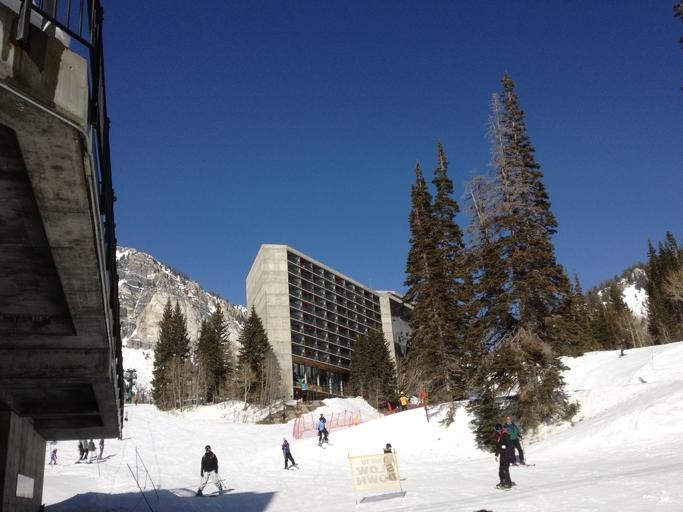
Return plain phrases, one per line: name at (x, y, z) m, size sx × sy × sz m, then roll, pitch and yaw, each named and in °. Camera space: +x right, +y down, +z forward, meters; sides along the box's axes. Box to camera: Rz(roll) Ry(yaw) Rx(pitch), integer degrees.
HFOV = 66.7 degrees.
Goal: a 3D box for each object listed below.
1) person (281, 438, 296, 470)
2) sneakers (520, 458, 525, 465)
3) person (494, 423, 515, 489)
person at (-2.831, 10.714, 28.269) m, size 0.674 × 1.556 × 3.140 m, roll -4°, pitch -21°, yaw -7°
sneakers at (7.228, 8.180, 20.749) m, size 0.197 × 0.202 × 0.195 m, roll -1°, pitch -13°, yaw -4°
person at (5.374, 6.583, 17.253) m, size 0.711 × 1.913 × 1.440 m, roll -12°, pitch -21°, yaw 14°
